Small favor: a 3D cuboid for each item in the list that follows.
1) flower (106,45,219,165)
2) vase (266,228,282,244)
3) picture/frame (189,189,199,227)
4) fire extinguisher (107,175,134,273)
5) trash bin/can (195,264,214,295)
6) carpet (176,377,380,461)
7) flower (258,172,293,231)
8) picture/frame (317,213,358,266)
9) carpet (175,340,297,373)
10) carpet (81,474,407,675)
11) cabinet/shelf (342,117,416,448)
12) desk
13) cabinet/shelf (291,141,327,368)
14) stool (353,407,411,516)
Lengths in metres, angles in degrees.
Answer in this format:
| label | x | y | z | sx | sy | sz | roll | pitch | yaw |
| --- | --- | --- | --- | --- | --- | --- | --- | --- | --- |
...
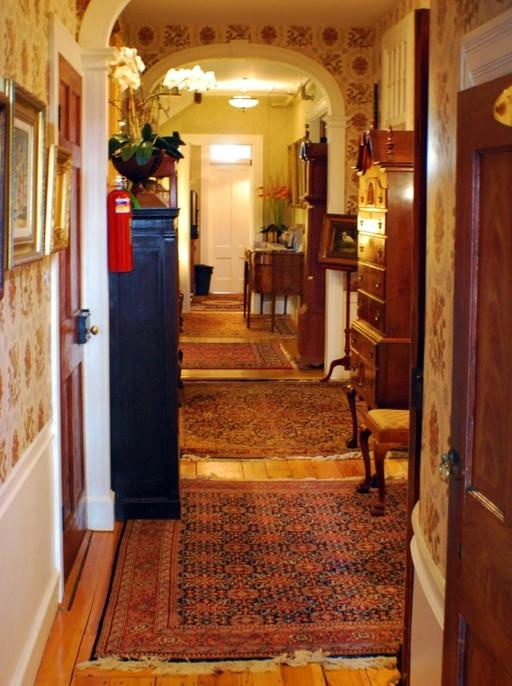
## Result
| label | x | y | z | sx | sy | sz | roll | pitch | yaw |
| --- | --- | --- | --- | --- | --- | --- | --- | --- | --- |
| flower | -0.626 | -1.400 | 3.279 | 0.469 | 0.645 | 0.374 | 0 | 8 | -4 |
| vase | 0.344 | -1.986 | 10.049 | 0.266 | 0.419 | 0.292 | 3 | 6 | 3 |
| picture/frame | -1.424 | -3.153 | 12.494 | 0.110 | 0.812 | 0.406 | 1 | 5 | 11 |
| fire extinguisher | -0.745 | -0.625 | 2.902 | 0.109 | 0.482 | 0.119 | 1 | 1 | -1 |
| trash bin/can | -1.177 | -1.464 | 12.572 | 0.549 | 0.749 | 0.627 | -3 | 11 | -13 |
| carpet | -0.106 | 0.729 | 5.279 | 2.208 | 0.090 | 1.463 | -4 | 21 | 40 |
| flower | 0.374 | -2.757 | 10.373 | 0.633 | 1.216 | 1.263 | 0 | 6 | 1 |
| picture/frame | 0.866 | -0.978 | 5.192 | 0.451 | 0.596 | 0.067 | 5 | -21 | 13 |
| carpet | -0.299 | 0.170 | 7.506 | 1.469 | 0.195 | 1.706 | -1 | 6 | -8 |
| carpet | 0.056 | 1.084 | 2.814 | 1.541 | 0.019 | 1.856 | 2 | 7 | 6 |
| cabinet/shelf | 0.863 | -0.491 | 3.605 | 0.340 | 1.882 | 0.910 | 1 | 5 | 9 |
| desk | 0.337 | -0.952 | 8.872 | 0.953 | 1.647 | 1.025 | 1 | 10 | -5 |
| cabinet/shelf | 0.738 | -1.113 | 7.090 | 0.348 | 2.829 | 1.333 | 1 | 5 | 5 |
| stool | 0.740 | 0.697 | 3.296 | 0.413 | 0.471 | 0.444 | 1 | 0 | -10 |
